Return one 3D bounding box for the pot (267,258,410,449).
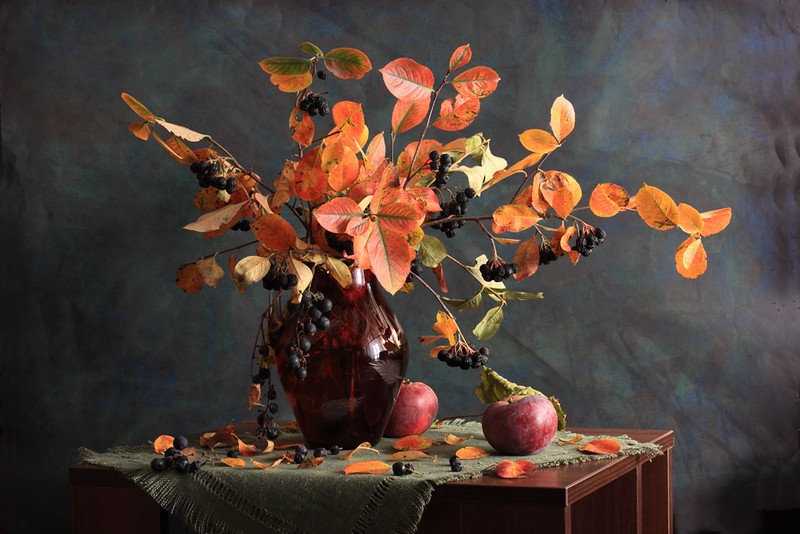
[{"bbox_3d":[-0.139,0.177,2.389,0.315,0.477,0.309,1,0,0],"label":"pot"}]

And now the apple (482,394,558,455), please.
[{"bbox_3d":[0.269,0.343,2.227,0.140,0.108,0.134,-9,-2,-4],"label":"apple"}]
